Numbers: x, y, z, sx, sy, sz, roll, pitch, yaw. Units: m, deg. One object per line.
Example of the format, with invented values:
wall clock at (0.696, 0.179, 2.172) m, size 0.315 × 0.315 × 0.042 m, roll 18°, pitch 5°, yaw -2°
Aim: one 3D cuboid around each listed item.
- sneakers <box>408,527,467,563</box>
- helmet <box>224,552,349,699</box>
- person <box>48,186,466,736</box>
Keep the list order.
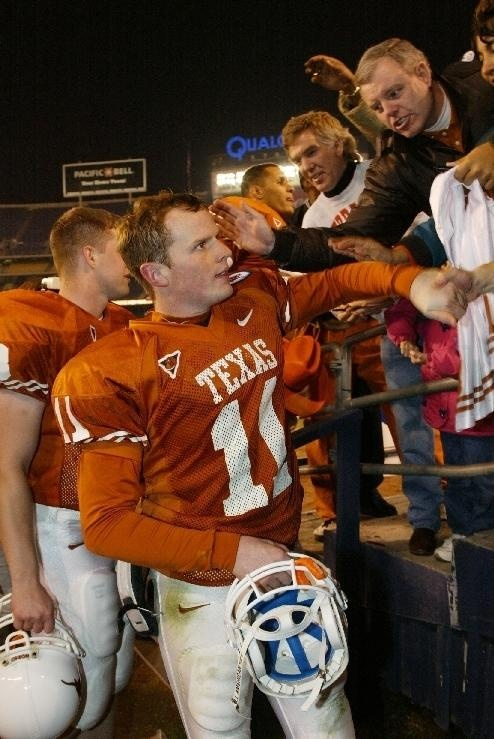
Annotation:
sneakers at (0.644, 0.610, 2.135) m, size 0.080 × 0.091 × 0.230 m, roll -13°, pitch -27°, yaw 26°
helmet at (0.074, 0.483, 1.253) m, size 0.255 × 0.270 × 0.230 m, roll -8°, pitch -11°, yaw 5°
person at (0.018, 0.184, 1.422) m, size 0.785 × 1.227 × 0.562 m, roll -10°, pitch 6°, yaw -37°
